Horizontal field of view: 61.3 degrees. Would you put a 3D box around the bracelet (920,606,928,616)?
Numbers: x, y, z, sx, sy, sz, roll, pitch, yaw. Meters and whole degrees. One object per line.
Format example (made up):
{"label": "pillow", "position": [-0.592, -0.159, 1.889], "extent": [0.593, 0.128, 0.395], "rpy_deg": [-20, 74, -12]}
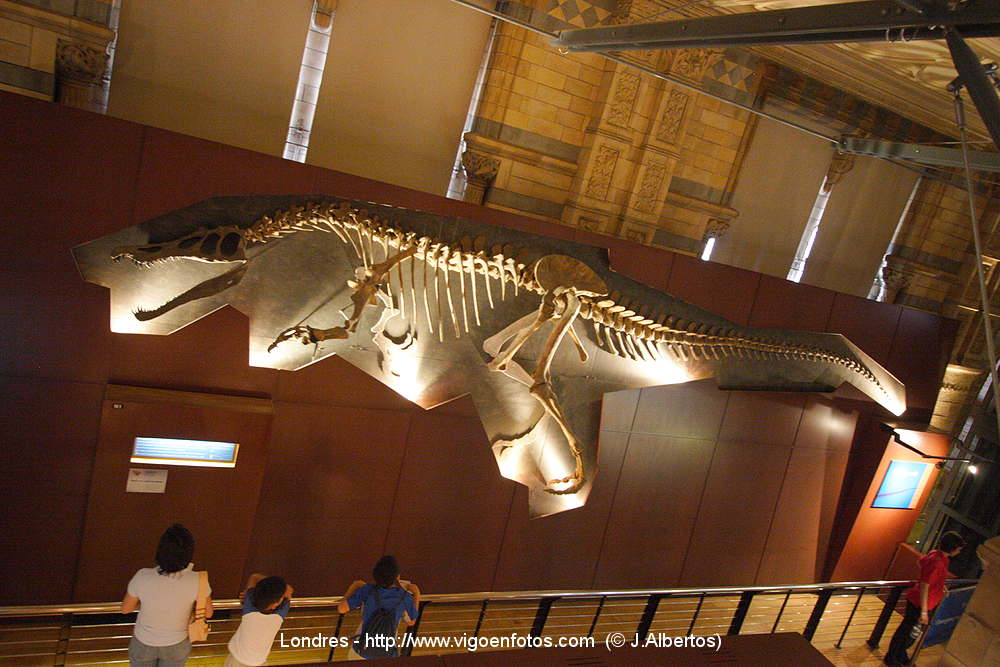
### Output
{"label": "bracelet", "position": [4.282, 2.823, 8.485], "extent": [0.065, 0.086, 0.024], "rpy_deg": [2, 10, -21]}

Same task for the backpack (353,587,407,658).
{"label": "backpack", "position": [-0.987, 2.379, 6.956], "extent": [0.521, 0.569, 0.194], "rpy_deg": [1, -9, -7]}
